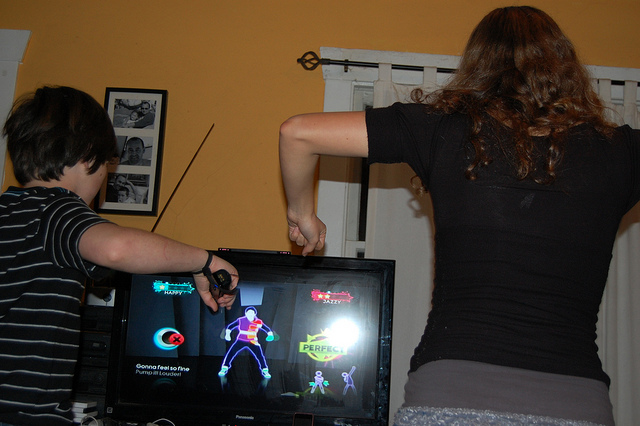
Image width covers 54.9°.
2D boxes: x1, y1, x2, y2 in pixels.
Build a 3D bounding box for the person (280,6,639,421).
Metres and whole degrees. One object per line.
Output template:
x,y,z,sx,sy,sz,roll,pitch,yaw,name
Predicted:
0.473,-0.024,1.944,1.030,1.320,0.317,-2,-15,16,person
